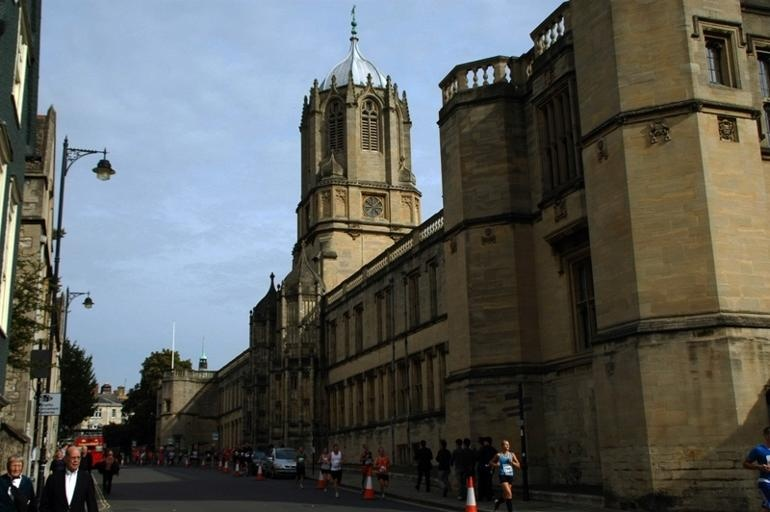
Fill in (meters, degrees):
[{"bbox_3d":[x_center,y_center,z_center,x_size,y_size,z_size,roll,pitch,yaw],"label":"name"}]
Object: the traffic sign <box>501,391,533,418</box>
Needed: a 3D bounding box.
[{"bbox_3d":[4.459,5.176,34.055,1.283,1.230,0.383,-2,-11,24],"label":"traffic sign"}]
